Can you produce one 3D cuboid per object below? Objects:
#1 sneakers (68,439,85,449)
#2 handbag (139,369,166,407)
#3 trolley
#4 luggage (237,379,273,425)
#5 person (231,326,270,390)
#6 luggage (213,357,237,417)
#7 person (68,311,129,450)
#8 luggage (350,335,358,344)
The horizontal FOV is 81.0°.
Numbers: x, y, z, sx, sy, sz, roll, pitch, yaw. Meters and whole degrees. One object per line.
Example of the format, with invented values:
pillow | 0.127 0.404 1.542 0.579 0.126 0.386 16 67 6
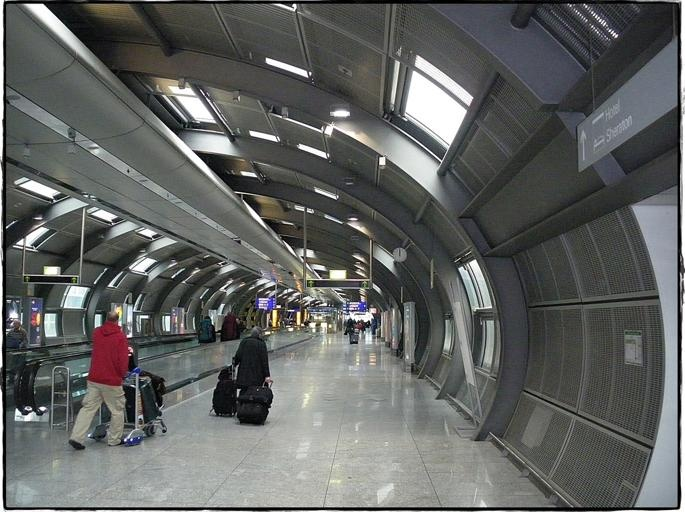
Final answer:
sneakers | -4.747 3.375 7.251 0.169 0.127 0.311 4 -28 5
handbag | -4.154 2.722 8.628 0.583 0.635 0.188 30 -60 -23
trolley | -4.358 3.013 8.339 1.012 1.362 1.414 -4 -6 26
luggage | -2.118 3.505 9.727 0.779 0.982 0.754 0 -8 2
person | -2.345 2.636 10.376 0.861 1.583 1.113 3 -9 -15
luggage | -3.093 3.570 10.611 0.570 1.156 0.920 3 -9 -16
person | -4.494 2.299 7.561 0.789 2.488 0.425 4 -9 -26
luggage | 1.180 9.173 44.347 0.551 0.984 1.049 -5 -9 36
